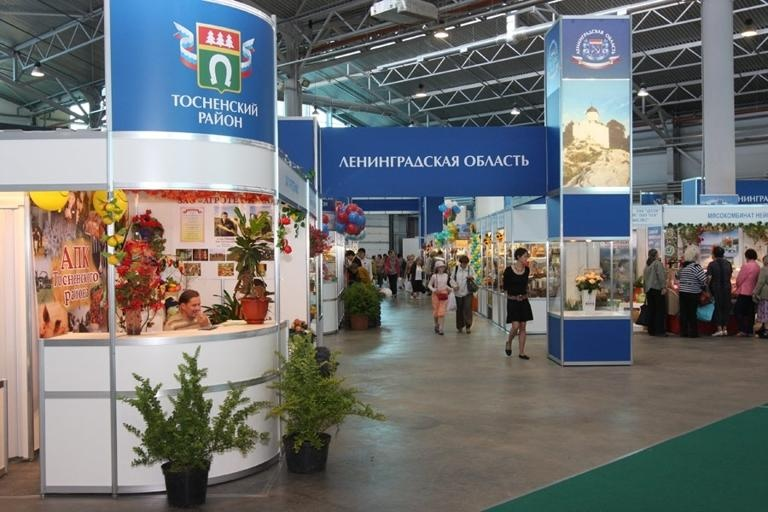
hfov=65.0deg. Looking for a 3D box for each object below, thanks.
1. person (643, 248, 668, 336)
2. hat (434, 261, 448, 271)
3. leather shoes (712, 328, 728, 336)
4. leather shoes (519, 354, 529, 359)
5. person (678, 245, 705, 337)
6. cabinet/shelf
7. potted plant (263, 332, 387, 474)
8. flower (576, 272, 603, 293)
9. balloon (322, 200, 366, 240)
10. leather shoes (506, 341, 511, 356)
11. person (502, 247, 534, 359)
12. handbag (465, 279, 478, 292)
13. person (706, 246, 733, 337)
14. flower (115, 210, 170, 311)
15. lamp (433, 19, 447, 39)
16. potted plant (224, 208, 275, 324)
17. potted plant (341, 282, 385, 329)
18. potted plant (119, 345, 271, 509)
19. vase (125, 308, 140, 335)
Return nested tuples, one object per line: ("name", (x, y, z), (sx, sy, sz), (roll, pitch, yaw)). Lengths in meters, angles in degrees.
("person", (5.719, 0.783, 12.752), (0.432, 1.821, 0.598), (1, 5, 24))
("hat", (1.239, 0.231, 13.314), (0.195, 0.125, 0.232), (0, -8, -5))
("leather shoes", (7.006, 1.610, 12.568), (0.136, 0.113, 0.261), (-1, 1, 3))
("leather shoes", (2.390, 1.722, 10.254), (0.151, 0.061, 0.074), (-1, 3, -32))
("person", (6.344, 0.770, 12.473), (0.445, 1.817, 0.267), (2, 5, 34))
("cabinet/shelf", (2.536, 0.424, 13.262), (0.910, 2.546, 2.917), (0, -1, 1))
("potted plant", (-0.724, 1.380, 6.096), (0.869, 1.278, 1.119), (-2, 5, -12))
("flower", (3.333, 0.440, 9.789), (0.318, 0.243, 0.333), (1, -2, -5))
("balloon", (-0.947, -0.784, 14.348), (0.940, 0.840, 0.739), (0, 6, 2))
("leather shoes", (2.146, 1.625, 10.469), (0.088, 0.260, 0.065), (-1, -6, 18))
("person", (2.300, 0.824, 10.454), (0.452, 1.934, 1.280), (0, 5, 12))
("handbag", (1.870, 0.652, 13.006), (0.120, 0.274, 0.264), (-11, 3, -3))
("person", (6.983, 0.746, 12.587), (0.459, 1.862, 0.478), (2, 5, 30))
("flower", (-2.375, 0.052, 5.908), (0.419, 0.921, 0.751), (-2, 5, -19))
("lamp", (1.394, -5.727, 15.161), (0.324, 0.459, 0.656), (0, 5, 6))
("potted plant", (-1.443, 0.093, 6.593), (0.455, 1.208, 1.230), (-2, 5, -12))
("potted plant", (-0.532, 1.237, 14.512), (1.037, 1.112, 0.969), (1, -6, -8))
("potted plant", (-1.724, 1.531, 5.699), (1.250, 1.339, 1.262), (2, -1, 3))
("vase", (-2.326, 0.615, 5.565), (0.140, 0.224, 0.098), (-2, 4, -12))
